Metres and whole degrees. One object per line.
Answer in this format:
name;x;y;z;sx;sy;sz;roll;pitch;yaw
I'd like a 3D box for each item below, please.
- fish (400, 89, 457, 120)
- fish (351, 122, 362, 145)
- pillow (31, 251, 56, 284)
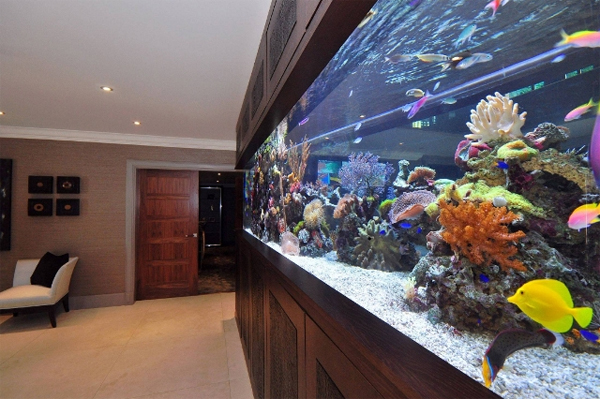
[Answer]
fish;0.466;-0.356;1.391;0.205;0.113;0.007;5;6;44
fish;0.250;-0.291;1.664;0.004;0.093;0.055;-2;5;-33
pillow;-2.931;0.833;4.294;0.290;0.303;0.092;-10;-30;20
